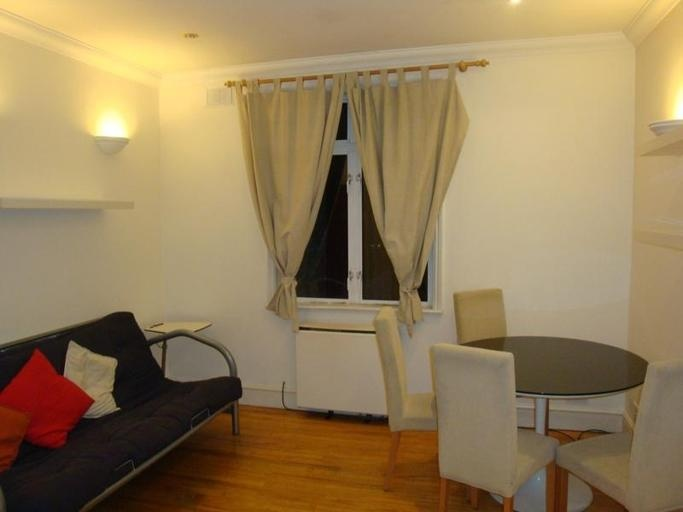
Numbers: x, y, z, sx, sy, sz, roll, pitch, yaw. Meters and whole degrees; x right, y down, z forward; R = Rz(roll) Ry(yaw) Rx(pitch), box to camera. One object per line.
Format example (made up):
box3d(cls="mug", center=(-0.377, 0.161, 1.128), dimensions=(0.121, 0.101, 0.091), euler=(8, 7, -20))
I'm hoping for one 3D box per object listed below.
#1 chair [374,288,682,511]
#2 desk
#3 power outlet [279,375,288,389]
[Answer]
box3d(cls="chair", center=(1.189, 0.982, 4.005), dimensions=(1.706, 1.334, 1.148), euler=(1, 6, 32))
box3d(cls="desk", center=(-1.475, 0.761, 5.085), dimensions=(0.536, 0.684, 0.443), euler=(1, 6, -4))
box3d(cls="power outlet", center=(-0.525, 1.151, 5.110), dimensions=(0.079, 0.086, 0.020), euler=(8, 0, 25))
